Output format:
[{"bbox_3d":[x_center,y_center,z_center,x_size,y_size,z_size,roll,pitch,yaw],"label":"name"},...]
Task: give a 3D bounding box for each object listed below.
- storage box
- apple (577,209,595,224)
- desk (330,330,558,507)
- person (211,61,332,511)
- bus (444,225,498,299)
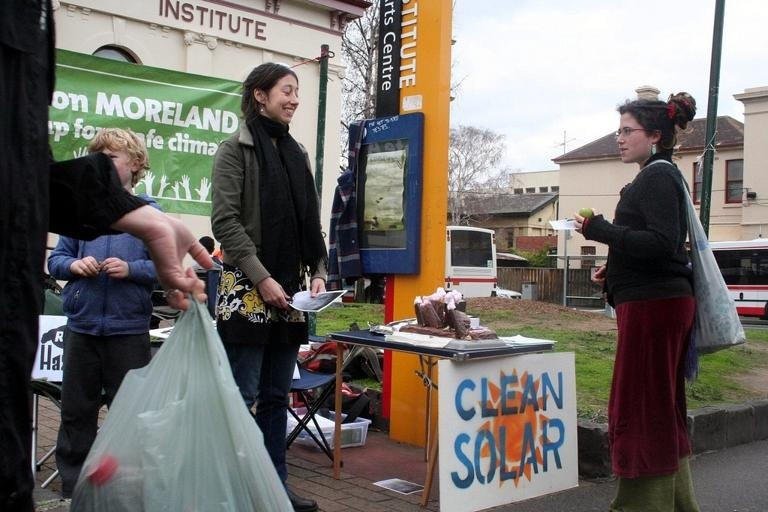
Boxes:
[{"bbox_3d":[-0.546,1.474,6.238,0.447,0.172,0.626,3,-2,-39],"label":"storage box"},{"bbox_3d":[1.322,-0.256,4.491,0.102,0.114,0.099,12,6,21],"label":"apple"},{"bbox_3d":[0.539,1.278,5.272,1.429,1.148,1.396,5,-4,-42],"label":"desk"},{"bbox_3d":[-0.757,0.204,4.573,0.758,3.024,0.576,0,3,-16],"label":"person"},{"bbox_3d":[3.706,0.194,27.995,2.529,2.560,4.429,2,7,14],"label":"bus"}]
